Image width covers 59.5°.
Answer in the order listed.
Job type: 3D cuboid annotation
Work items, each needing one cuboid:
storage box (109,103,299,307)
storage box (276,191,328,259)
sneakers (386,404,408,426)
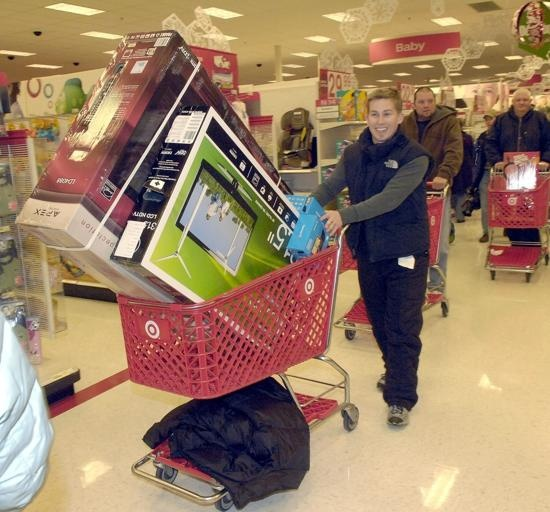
[{"bbox_3d":[-0.229,-0.172,2.103,0.180,0.567,1.014,13,-8,23],"label":"storage box"},{"bbox_3d":[0.166,-0.144,2.232,0.126,0.284,0.237,8,-12,43],"label":"storage box"},{"bbox_3d":[0.678,0.877,2.654,0.070,0.059,0.167,2,-3,9],"label":"sneakers"}]
